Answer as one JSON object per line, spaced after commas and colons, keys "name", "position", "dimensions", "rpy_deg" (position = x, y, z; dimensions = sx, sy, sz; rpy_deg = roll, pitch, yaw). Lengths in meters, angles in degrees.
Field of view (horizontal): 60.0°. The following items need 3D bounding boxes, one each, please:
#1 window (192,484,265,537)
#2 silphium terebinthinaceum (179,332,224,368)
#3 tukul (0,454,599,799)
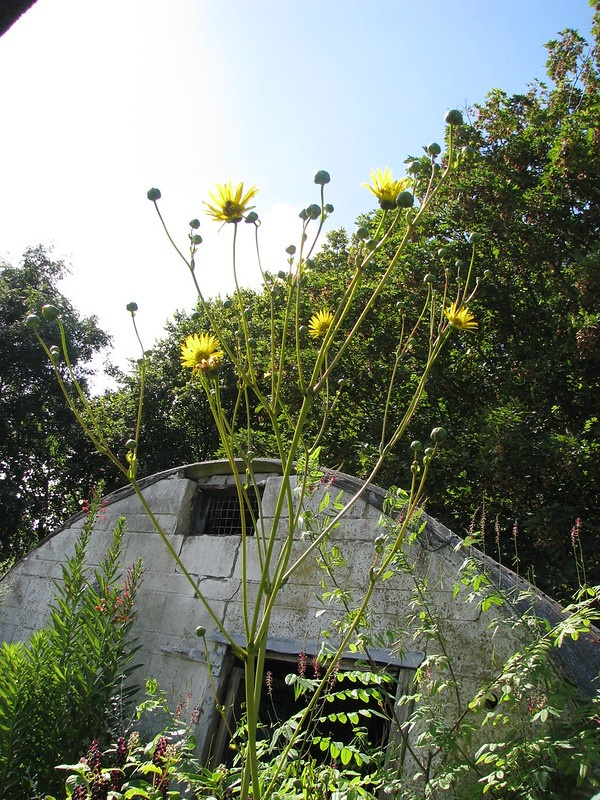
{"name": "window", "position": [-0.499, 0.805, 3.854], "dimensions": [0.436, 0.493, 0.014], "rpy_deg": [-3, -46, 14]}
{"name": "silphium terebinthinaceum", "position": [-0.243, -0.104, 1.308], "dimensions": [0.103, 0.105, 0.028], "rpy_deg": [-11, -33, 2]}
{"name": "tukul", "position": [-0.039, 1.089, 2.589], "dimensions": [1.970, 0.666, 0.603], "rpy_deg": [-4, -37, 45]}
